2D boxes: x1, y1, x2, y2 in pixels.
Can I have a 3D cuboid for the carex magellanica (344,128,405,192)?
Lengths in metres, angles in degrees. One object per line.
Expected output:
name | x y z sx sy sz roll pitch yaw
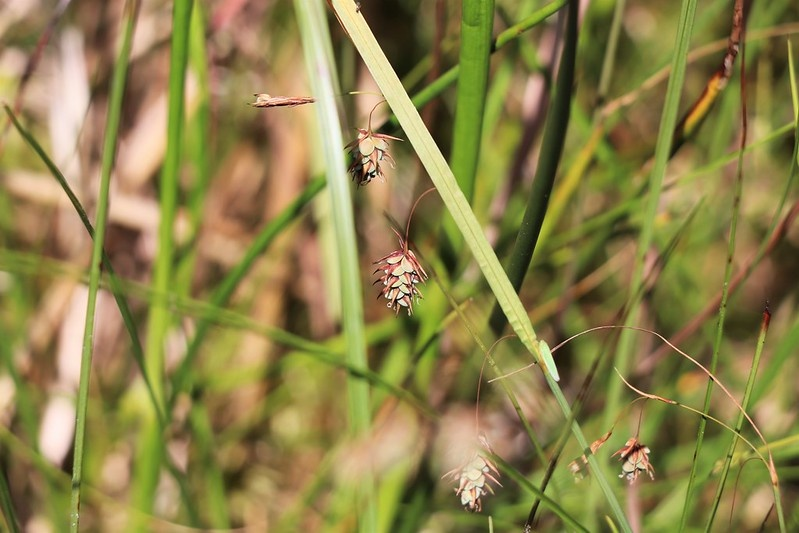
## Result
carex magellanica | -0.041 -0.174 1.534 0.088 0.086 0.084 -21 33 -18

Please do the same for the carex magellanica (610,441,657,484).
carex magellanica | 0.368 0.296 1.558 0.046 0.049 0.055 11 0 26

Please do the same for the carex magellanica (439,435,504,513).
carex magellanica | 0.118 0.317 1.557 0.060 0.104 0.054 -14 36 -15

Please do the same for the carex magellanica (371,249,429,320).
carex magellanica | 0.002 0.032 1.595 0.080 0.111 0.096 3 0 9
